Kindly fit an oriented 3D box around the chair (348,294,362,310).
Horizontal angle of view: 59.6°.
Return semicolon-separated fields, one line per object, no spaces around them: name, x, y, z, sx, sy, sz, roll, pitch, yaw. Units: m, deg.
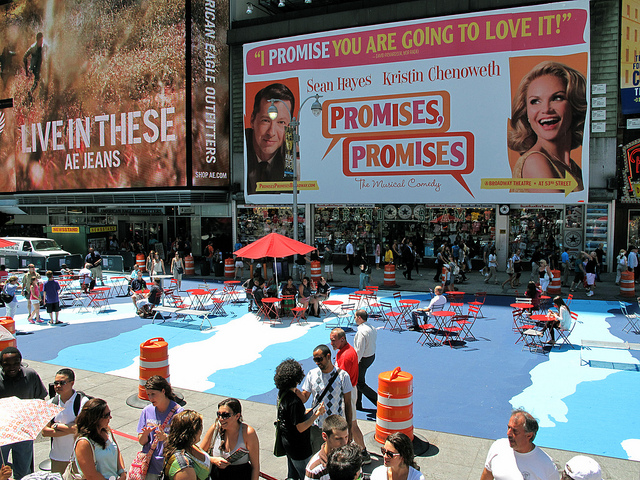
chair;1.396;2.486;22.236;0.489;1.022;0.674;-1;-4;11

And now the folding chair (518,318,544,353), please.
folding chair;6.707;3.051;17.873;0.827;1.421;0.835;-3;-2;26

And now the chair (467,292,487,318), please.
chair;6.269;2.634;22.326;0.760;1.311;0.761;2;-2;-27

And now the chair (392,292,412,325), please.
chair;3.181;2.478;21.788;0.825;1.567;0.719;-3;3;17

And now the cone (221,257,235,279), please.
cone;-4.900;1.586;30.306;0.766;1.549;0.833;-2;5;-20

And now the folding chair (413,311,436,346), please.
folding chair;3.537;2.982;19.139;0.697;0.853;1.566;-1;1;10

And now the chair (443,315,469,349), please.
chair;4.642;2.974;19.206;0.730;0.963;2.641;-1;1;14

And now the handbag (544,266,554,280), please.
handbag;9.659;1.420;23.690;0.426;0.568;0.478;-2;2;18

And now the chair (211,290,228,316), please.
chair;-4.187;2.643;23.267;0.771;1.258;0.693;2;1;-5

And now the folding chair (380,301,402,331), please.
folding chair;2.547;2.675;21.190;0.772;1.326;0.639;-8;7;-43

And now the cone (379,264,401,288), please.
cone;3.394;1.782;27.263;1.013;1.149;0.716;-2;1;-32

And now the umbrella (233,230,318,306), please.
umbrella;-1.804;1.288;22.202;2.836;3.392;2.793;-11;10;-31

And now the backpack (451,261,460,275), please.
backpack;6.340;1.358;26.318;0.293;0.634;0.424;-28;26;-3

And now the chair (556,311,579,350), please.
chair;8.231;3.023;18.739;0.573;0.804;2.700;-1;1;26

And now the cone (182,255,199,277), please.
cone;-7.579;1.508;32.487;0.842;1.174;0.965;4;10;22

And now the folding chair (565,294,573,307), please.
folding chair;9.101;2.180;20.304;0.210;0.404;0.241;18;17;31

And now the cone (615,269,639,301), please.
cone;13.077;1.986;23.834;0.959;1.138;0.790;-1;1;1

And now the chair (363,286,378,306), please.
chair;2.118;2.276;22.831;0.505;0.897;0.592;1;3;11

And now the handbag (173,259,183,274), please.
handbag;-6.777;1.281;26.764;0.447;0.572;0.205;-2;1;-43

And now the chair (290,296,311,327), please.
chair;-0.803;2.776;21.402;0.619;1.206;0.771;-1;-4;30

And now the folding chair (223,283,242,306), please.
folding chair;-3.910;2.309;24.962;0.690;0.988;0.778;5;13;21

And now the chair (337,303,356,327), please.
chair;1.000;2.825;21.560;0.538;1.056;0.723;0;-9;8

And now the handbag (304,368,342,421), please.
handbag;0.082;2.968;10.657;0.135;1.254;0.121;40;-25;-12

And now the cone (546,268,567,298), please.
cone;10.464;1.901;24.613;1.036;1.282;1.067;-1;0;-21

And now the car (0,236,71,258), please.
car;-16.404;0.430;32.392;2.644;1.605;1.713;0;4;21

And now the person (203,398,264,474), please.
person;-1.525;3.337;9.545;0.900;0.969;0.471;-2;1;-20

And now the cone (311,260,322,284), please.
cone;-0.188;1.597;27.996;0.640;1.389;0.691;-3;6;-19

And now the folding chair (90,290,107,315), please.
folding chair;-9.427;2.689;23.714;0.588;1.248;0.811;0;15;-18
